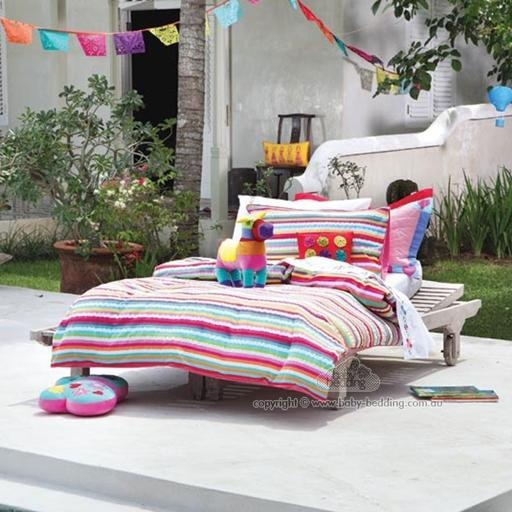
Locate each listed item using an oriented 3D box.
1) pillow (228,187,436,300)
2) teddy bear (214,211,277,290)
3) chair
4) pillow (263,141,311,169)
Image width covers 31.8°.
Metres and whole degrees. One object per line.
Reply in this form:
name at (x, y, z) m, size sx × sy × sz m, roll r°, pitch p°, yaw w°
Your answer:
pillow at (0.574, -0.126, 6.292) m, size 1.601 × 0.821 × 0.964 m, roll 1°, pitch 3°, yaw 6°
teddy bear at (-0.075, -0.009, 5.160) m, size 0.184 × 0.440 × 0.463 m, roll -8°, pitch 7°, yaw -39°
chair at (0.513, -1.276, 11.046) m, size 0.729 × 1.332 × 0.589 m, roll 6°, pitch 14°, yaw 45°
pillow at (0.360, -1.185, 10.700) m, size 0.686 × 0.359 × 0.180 m, roll 9°, pitch 3°, yaw 42°
